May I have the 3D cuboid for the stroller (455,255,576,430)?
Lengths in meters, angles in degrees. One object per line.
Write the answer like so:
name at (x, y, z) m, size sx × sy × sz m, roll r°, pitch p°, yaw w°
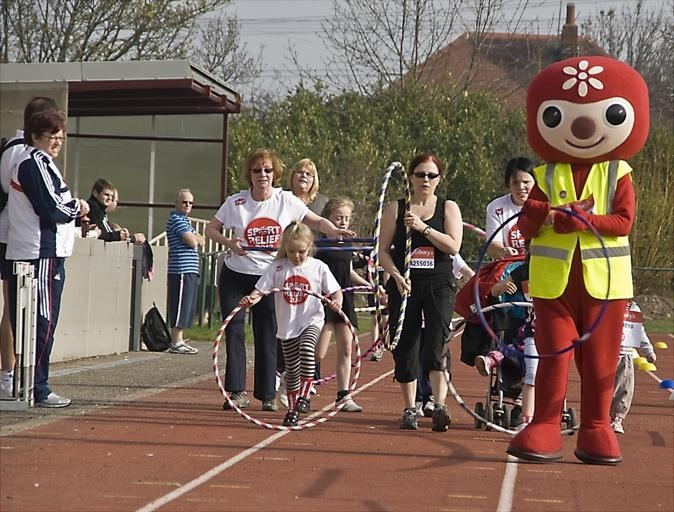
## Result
stroller at (1.780, 0.801, 10.115) m, size 1.307 × 1.626 × 0.935 m, roll 7°, pitch -10°, yaw -9°

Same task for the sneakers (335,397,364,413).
sneakers at (0.126, 1.465, 10.936) m, size 0.353 × 0.153 × 0.127 m, roll 1°, pitch -3°, yaw 8°

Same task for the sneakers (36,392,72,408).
sneakers at (-2.706, 1.377, 10.580) m, size 0.298 × 0.135 × 0.135 m, roll 0°, pitch 1°, yaw -5°

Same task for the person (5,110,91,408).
person at (-2.793, 0.000, 10.533) m, size 0.679 × 2.846 × 0.508 m, roll 1°, pitch 4°, yaw -17°

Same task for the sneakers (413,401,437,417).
sneakers at (0.865, 1.490, 10.819) m, size 0.111 × 0.141 × 0.312 m, roll -1°, pitch -13°, yaw 0°

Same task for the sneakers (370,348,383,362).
sneakers at (0.551, 1.351, 15.196) m, size 0.118 × 0.133 × 0.342 m, roll 4°, pitch 9°, yaw 10°

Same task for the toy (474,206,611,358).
toy at (1.618, 0.258, 9.473) m, size 0.919 × 1.406 × 1.693 m, roll 1°, pitch 4°, yaw -17°

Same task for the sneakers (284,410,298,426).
sneakers at (-0.416, 1.473, 10.100) m, size 0.132 × 0.105 × 0.229 m, roll 2°, pitch 4°, yaw -2°

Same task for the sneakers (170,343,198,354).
sneakers at (-2.059, 1.243, 14.874) m, size 0.376 × 0.161 × 0.149 m, roll 1°, pitch -2°, yaw 2°

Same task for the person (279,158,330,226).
person at (-0.363, -0.600, 11.656) m, size 0.614 × 0.837 × 0.367 m, roll 10°, pitch -19°, yaw 1°

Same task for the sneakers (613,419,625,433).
sneakers at (2.634, 1.581, 10.244) m, size 0.090 × 0.104 × 0.249 m, roll -2°, pitch -7°, yaw 18°

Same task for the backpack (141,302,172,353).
backpack at (-2.441, 0.991, 14.915) m, size 0.393 × 0.591 × 0.295 m, roll 2°, pitch 4°, yaw -10°

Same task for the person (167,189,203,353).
person at (-2.084, 0.202, 15.083) m, size 0.509 × 2.209 × 0.842 m, roll 2°, pitch 4°, yaw -9°

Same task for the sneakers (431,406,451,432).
sneakers at (0.950, 1.476, 10.042) m, size 0.149 × 0.255 × 0.234 m, roll 2°, pitch 4°, yaw 2°

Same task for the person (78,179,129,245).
person at (-3.013, -0.582, 14.426) m, size 0.678 × 0.799 × 0.525 m, roll 1°, pitch -3°, yaw 14°

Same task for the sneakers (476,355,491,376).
sneakers at (1.345, 1.007, 10.029) m, size 0.105 × 0.201 × 0.131 m, roll -11°, pitch 0°, yaw 43°

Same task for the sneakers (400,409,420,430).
sneakers at (0.679, 1.500, 10.226) m, size 0.169 × 0.180 × 0.241 m, roll 3°, pitch 4°, yaw 6°

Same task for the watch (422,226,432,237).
watch at (0.823, -0.237, 10.108) m, size 0.099 × 0.064 × 0.091 m, roll -45°, pitch 2°, yaw -13°

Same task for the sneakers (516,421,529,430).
sneakers at (1.667, 1.525, 9.909) m, size 0.151 × 0.055 × 0.154 m, roll -10°, pitch -5°, yaw 34°

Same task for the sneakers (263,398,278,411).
sneakers at (-0.653, 1.475, 10.949) m, size 0.069 × 0.087 × 0.203 m, roll 2°, pitch 4°, yaw 12°

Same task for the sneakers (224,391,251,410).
sneakers at (-0.974, 1.424, 10.754) m, size 0.288 × 0.193 × 0.135 m, roll 2°, pitch -7°, yaw -17°
